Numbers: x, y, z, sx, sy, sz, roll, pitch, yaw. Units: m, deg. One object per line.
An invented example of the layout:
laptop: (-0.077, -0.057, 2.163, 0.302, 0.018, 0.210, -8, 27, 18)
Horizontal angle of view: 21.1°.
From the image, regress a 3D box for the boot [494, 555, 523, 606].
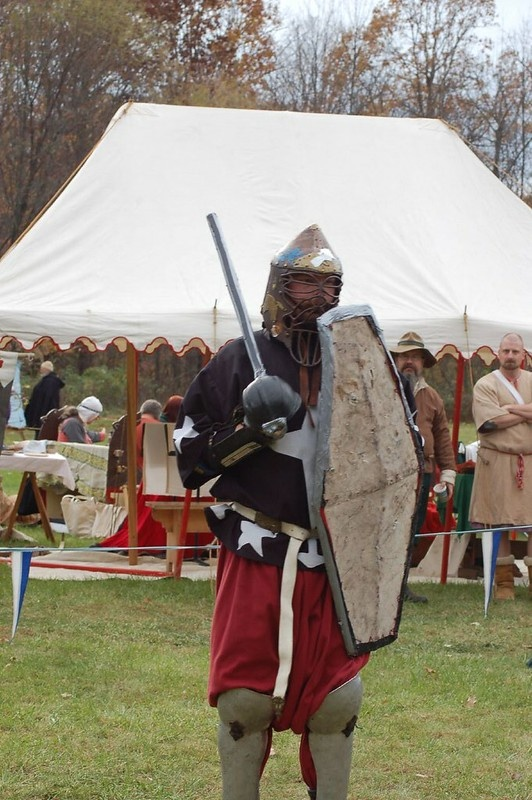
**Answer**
boot: (1.660, 1.210, 9.788, 0.160, 0.313, 0.284, -1, 4, -16)

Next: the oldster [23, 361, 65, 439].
oldster: (-2.570, -0.035, 16.623, 0.392, 0.797, 0.303, 8, 19, -9)

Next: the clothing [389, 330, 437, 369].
clothing: (0.977, -0.323, 9.447, 0.234, 0.117, 0.287, 7, -14, 7)

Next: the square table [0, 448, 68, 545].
square table: (-1.805, 0.755, 11.176, 0.655, 0.646, 0.693, 0, -9, -3)

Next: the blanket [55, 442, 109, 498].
blanket: (-1.613, 0.630, 12.829, 0.482, 0.499, 0.198, -3, 4, 9)

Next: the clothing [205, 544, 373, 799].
clothing: (0.048, 0.926, 4.996, 0.485, 0.806, 0.234, 1, 1, -8)

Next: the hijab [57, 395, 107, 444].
hijab: (-2.096, 0.241, 16.195, 0.421, 0.371, 0.764, 0, -41, -26)
